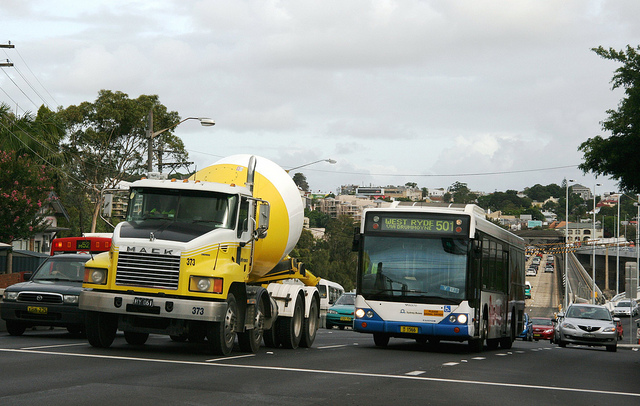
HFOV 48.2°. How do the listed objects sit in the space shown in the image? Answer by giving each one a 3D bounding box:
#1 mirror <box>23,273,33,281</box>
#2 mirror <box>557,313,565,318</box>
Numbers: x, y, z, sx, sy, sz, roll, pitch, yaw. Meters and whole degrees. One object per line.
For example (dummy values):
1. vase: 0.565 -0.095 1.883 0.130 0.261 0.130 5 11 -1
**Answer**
1. mirror: -9.426 2.373 23.030 0.234 0.158 0.207 4 -5 -20
2. mirror: 11.858 5.537 35.200 0.323 0.116 0.246 0 1 6
